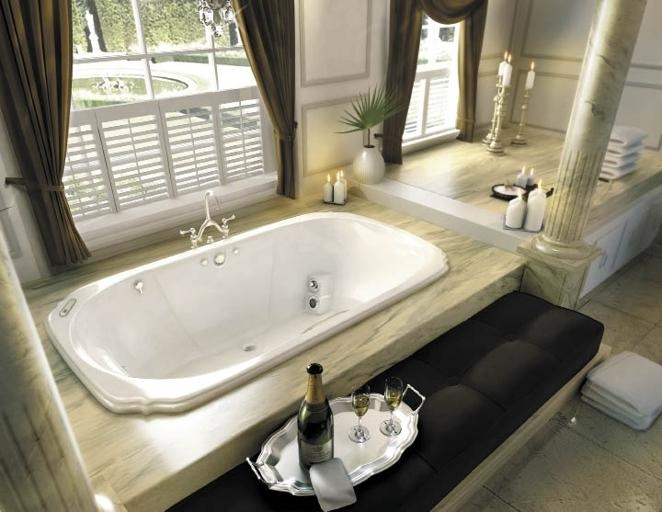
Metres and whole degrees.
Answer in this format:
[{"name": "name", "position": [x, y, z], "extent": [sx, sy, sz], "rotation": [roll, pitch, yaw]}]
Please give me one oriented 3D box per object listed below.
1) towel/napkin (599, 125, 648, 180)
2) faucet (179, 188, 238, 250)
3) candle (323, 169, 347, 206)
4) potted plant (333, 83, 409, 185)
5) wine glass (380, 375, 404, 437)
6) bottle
[{"name": "towel/napkin", "position": [1.878, -0.685, 2.681], "extent": [0.342, 0.163, 0.345], "rotation": [26, 50, 35]}, {"name": "faucet", "position": [-0.795, -0.233, 2.636], "extent": [0.333, 0.306, 0.144], "rotation": [-26, 44, -34]}, {"name": "candle", "position": [0.023, -0.514, 3.073], "extent": [0.169, 0.219, 0.198], "rotation": [-2, 31, -1]}, {"name": "potted plant", "position": [0.293, -0.984, 3.280], "extent": [0.570, 0.648, 0.435], "rotation": [-27, 46, -27]}, {"name": "wine glass", "position": [0.225, 0.568, 1.541], "extent": [0.107, 0.224, 0.103], "rotation": [12, 32, 22]}, {"name": "bottle", "position": [-0.056, 0.516, 1.314], "extent": [0.123, 0.399, 0.121], "rotation": [-2, 31, 1]}]
